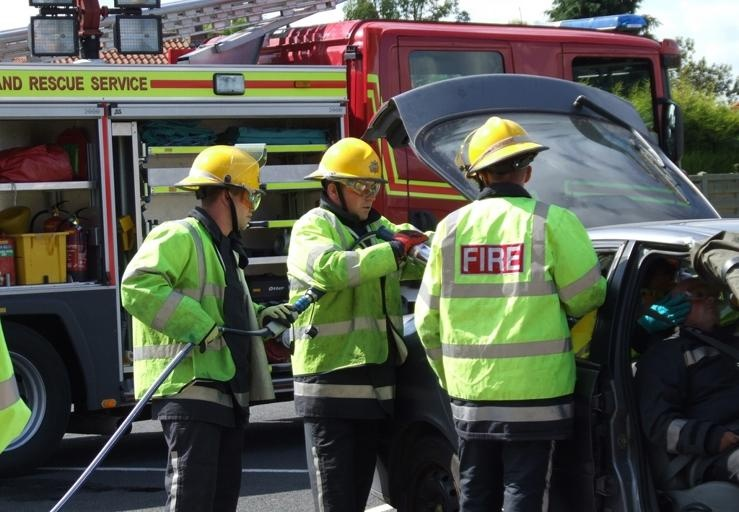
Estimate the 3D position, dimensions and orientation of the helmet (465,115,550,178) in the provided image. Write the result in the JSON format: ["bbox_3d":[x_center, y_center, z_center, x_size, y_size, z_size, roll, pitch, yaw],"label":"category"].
[{"bbox_3d":[0.730,-0.683,6.265,0.491,0.268,0.637,-17,15,-13],"label":"helmet"}]

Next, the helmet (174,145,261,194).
[{"bbox_3d":[-0.903,-0.550,6.588,0.396,0.326,0.366,15,21,35],"label":"helmet"}]

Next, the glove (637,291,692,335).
[{"bbox_3d":[1.773,0.328,6.321,0.278,0.220,0.273,19,15,42],"label":"glove"}]
